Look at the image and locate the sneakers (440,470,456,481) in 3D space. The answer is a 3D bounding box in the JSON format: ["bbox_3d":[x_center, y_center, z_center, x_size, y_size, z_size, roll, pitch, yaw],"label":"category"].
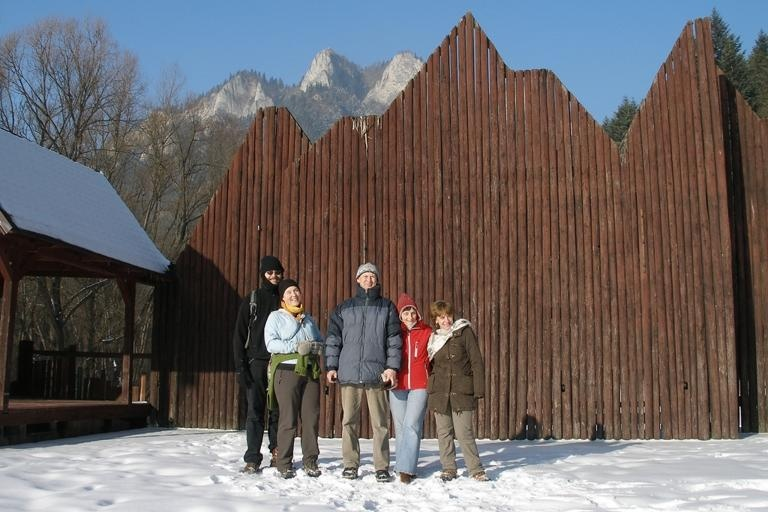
[{"bbox_3d":[1.092,3.775,13.983,0.108,0.160,0.321,-8,-24,23],"label":"sneakers"}]

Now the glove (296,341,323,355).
[{"bbox_3d":[-1.264,1.584,13.962,0.323,0.234,0.132,-1,4,-30],"label":"glove"}]

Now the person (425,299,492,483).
[{"bbox_3d":[1.257,2.328,14.223,0.975,3.095,0.425,-3,-13,7],"label":"person"}]

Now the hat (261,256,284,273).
[{"bbox_3d":[-2.019,0.157,14.642,0.228,0.323,0.351,-3,-19,3],"label":"hat"}]

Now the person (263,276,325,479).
[{"bbox_3d":[-1.578,2.098,14.091,0.999,3.382,0.735,3,-14,-16],"label":"person"}]

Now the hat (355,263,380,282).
[{"bbox_3d":[-0.297,0.310,14.873,0.364,0.300,0.565,0,-2,2],"label":"hat"}]

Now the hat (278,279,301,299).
[{"bbox_3d":[-1.671,0.564,14.361,0.293,0.289,0.312,-2,-12,-39],"label":"hat"}]

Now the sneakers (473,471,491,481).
[{"bbox_3d":[1.678,3.785,13.976,0.298,0.175,0.153,3,-15,-18],"label":"sneakers"}]

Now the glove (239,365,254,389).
[{"bbox_3d":[-2.438,2.147,14.414,0.166,0.379,0.252,0,-4,-23],"label":"glove"}]
